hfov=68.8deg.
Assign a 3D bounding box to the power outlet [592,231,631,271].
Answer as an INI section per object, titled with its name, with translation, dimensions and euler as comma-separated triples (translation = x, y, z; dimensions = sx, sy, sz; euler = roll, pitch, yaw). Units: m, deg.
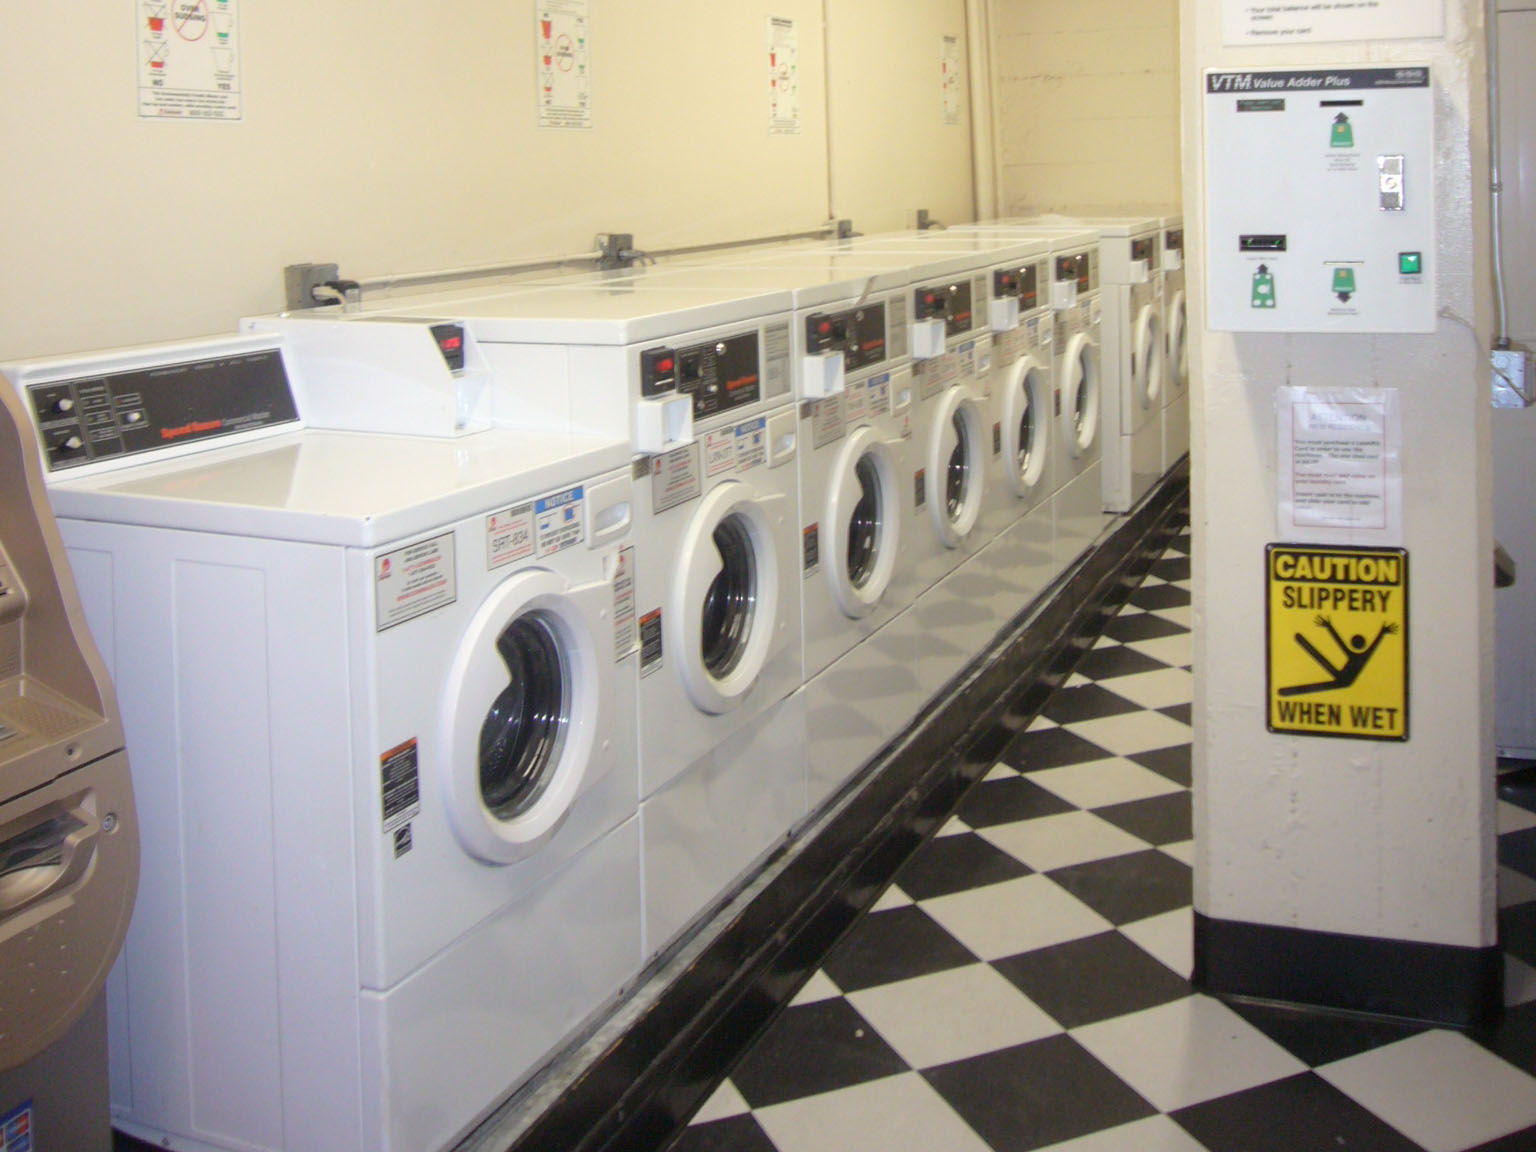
[power outlet]
translation = -0.540, -1.156, 3.963
dimensions = 0.139, 0.122, 0.222
euler = -5, 16, -8
